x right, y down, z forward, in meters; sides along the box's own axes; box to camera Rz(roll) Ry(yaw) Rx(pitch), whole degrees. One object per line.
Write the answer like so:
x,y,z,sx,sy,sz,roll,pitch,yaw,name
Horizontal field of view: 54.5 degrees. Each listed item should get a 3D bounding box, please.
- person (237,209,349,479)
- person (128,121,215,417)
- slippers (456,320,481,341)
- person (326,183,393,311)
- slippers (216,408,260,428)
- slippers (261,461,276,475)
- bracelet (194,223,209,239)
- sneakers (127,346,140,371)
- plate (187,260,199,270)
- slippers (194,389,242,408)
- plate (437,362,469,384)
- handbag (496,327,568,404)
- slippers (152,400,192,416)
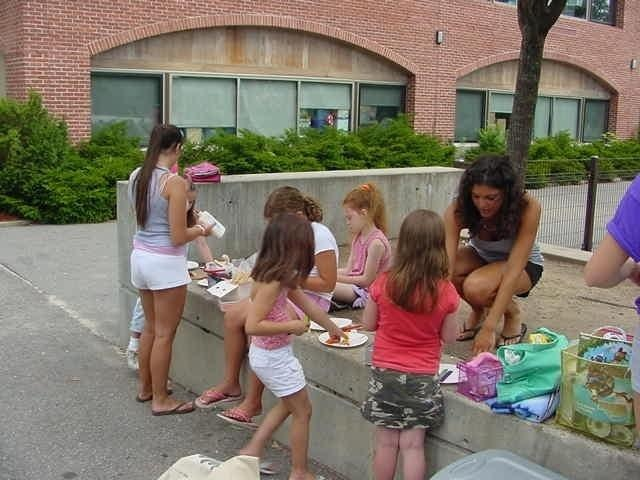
-0.236,0.777,4.477,0.614,1.951,0.678,2,13,3,person
-1.261,0.215,5.316,0.714,2.413,0.715,-3,9,-37,person
1.301,0.798,5.463,0.260,0.067,0.108,-8,12,-36,slippers
0.232,0.032,5.785,0.812,1.148,0.772,-2,8,-12,person
-0.611,1.382,4.785,0.331,0.133,0.193,23,-15,-17,slippers
-0.390,1.700,4.611,0.104,0.051,0.079,22,-9,-17,slippers
-1.023,-0.081,5.328,0.052,0.113,0.139,19,-7,-40,bracelet
-1.787,1.142,5.918,0.143,0.261,0.242,1,-1,-22,sneakers
-1.314,0.265,6.401,0.083,0.024,0.085,-6,16,-32,plate
-0.823,1.277,5.044,0.372,0.154,0.154,2,-2,-25,slippers
0.877,0.922,4.251,0.144,0.024,0.158,-17,12,-32,plate
1.311,0.794,3.916,0.404,0.210,0.596,2,27,36,handbag
-1.240,1.461,5.310,0.222,0.069,0.132,-3,-2,-7,slippers
